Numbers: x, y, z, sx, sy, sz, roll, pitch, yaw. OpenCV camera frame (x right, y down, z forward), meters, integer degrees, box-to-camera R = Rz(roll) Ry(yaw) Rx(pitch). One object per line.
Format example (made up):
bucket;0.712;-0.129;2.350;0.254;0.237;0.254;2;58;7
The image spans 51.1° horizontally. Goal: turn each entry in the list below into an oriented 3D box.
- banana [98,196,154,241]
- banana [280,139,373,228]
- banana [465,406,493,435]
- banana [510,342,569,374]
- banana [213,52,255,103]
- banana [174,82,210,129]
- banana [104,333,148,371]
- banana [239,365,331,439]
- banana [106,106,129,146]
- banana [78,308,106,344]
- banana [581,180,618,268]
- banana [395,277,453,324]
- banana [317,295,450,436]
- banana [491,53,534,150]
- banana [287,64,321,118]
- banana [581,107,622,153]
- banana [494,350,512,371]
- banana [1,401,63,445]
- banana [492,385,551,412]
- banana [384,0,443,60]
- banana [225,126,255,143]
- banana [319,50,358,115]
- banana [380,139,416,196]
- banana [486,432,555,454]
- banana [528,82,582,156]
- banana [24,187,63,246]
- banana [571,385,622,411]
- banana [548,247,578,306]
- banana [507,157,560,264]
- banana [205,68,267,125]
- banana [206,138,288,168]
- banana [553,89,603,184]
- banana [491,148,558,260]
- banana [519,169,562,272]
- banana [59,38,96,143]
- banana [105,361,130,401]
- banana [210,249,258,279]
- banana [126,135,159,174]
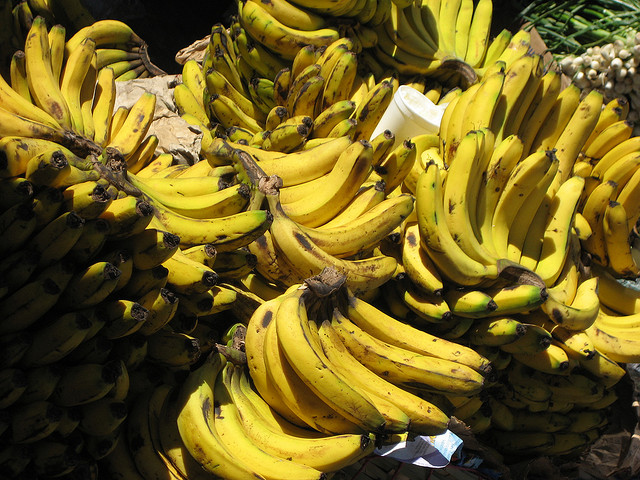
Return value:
banana;-0.869;-0.077;2.997;0.310;0.165;0.136;-17;63;30
banana;0.043;-0.293;3.688;0.125;0.489;0.180;23;29;-31
banana;0.940;1.068;3.950;0.124;0.189;0.064;-4;29;-21
banana;1.218;0.642;3.687;0.298;0.092;0.111;24;-7;-26
banana;-0.651;-1.176;4.741;0.121;0.395;0.101;5;36;-26
banana;-0.893;-0.932;4.674;0.094;0.384;0.123;-28;12;24
banana;-0.878;0.499;3.027;0.165;0.142;0.062;-18;27;-25
banana;-0.152;0.772;3.167;0.357;0.072;0.118;52;42;4
banana;-1.211;-0.702;4.000;0.063;0.085;0.282;19;68;-19
banana;-0.975;0.362;2.849;0.082;0.152;0.036;3;3;-23
banana;1.680;-0.119;4.073;0.142;0.635;0.190;-7;9;3
banana;0.600;0.343;3.658;0.149;0.449;0.131;27;46;-27
banana;0.298;0.630;3.266;0.637;0.217;0.115;42;28;15
banana;1.142;-0.806;3.961;0.109;0.595;0.189;25;23;28
banana;-0.122;-0.996;4.249;0.141;0.435;0.107;34;22;30
banana;1.734;-0.683;4.115;0.075;0.290;0.092;42;12;38
banana;1.027;0.681;3.774;0.089;0.111;0.034;20;2;-17
banana;-1.190;0.760;2.760;0.234;0.146;0.083;-28;-3;-6
banana;1.185;0.930;3.950;0.205;0.075;0.077;32;32;-3
banana;0.669;-1.532;4.920;0.092;0.486;0.158;-31;-2;16
banana;-0.531;-0.702;4.451;0.132;0.061;0.117;-20;8;-12
banana;0.092;-1.060;4.460;0.170;0.643;0.220;30;75;-14
banana;0.477;-0.470;4.050;0.122;0.171;0.485;14;-7;-4
banana;1.236;1.247;4.124;0.325;0.112;0.098;0;71;3
banana;1.419;-0.736;4.035;0.104;0.467;0.145;29;25;12
banana;-1.168;-0.093;2.819;0.054;0.070;0.225;17;73;32
banana;1.655;0.957;4.043;0.048;0.191;0.142;44;37;17
banana;1.369;0.217;3.797;0.069;0.109;0.318;-22;38;55
banana;1.202;-0.159;3.793;0.088;0.562;0.179;16;-5;21
banana;-0.535;-0.976;4.670;0.136;0.218;0.646;-42;68;-6
banana;-0.417;-0.502;3.888;0.397;0.166;0.118;9;29;-6
banana;1.550;-0.625;4.041;0.113;0.580;0.172;31;24;30
banana;1.141;-0.195;3.775;0.182;0.594;0.129;2;24;-46
banana;1.250;-0.094;3.813;0.180;0.591;0.108;27;-11;-23
banana;-1.318;-0.804;3.630;0.116;0.685;0.218;0;-3;14
banana;-0.873;0.638;2.921;0.065;0.224;0.057;29;24;19
banana;-0.434;0.129;3.360;0.208;0.080;0.126;-16;69;4
banana;-1.055;-0.538;4.090;0.079;0.122;0.333;10;36;9
